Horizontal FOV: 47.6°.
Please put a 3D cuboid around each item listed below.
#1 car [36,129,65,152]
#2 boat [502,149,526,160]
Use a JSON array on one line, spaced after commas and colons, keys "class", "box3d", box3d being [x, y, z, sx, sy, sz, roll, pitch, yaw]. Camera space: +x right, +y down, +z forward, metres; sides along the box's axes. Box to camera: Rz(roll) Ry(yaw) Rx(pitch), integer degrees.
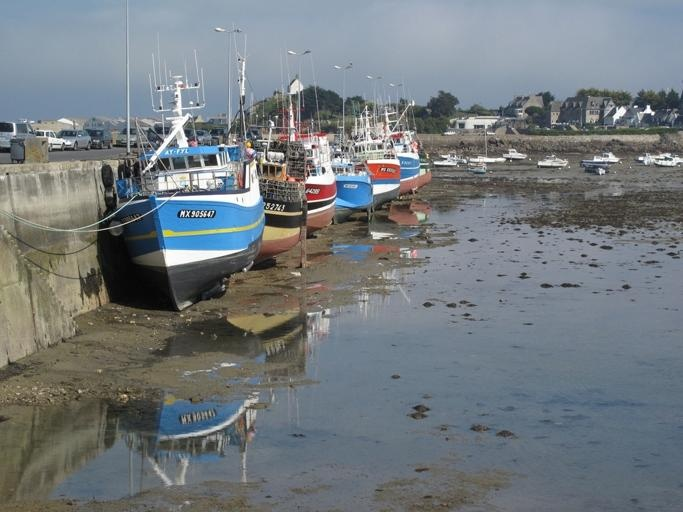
[{"class": "car", "box3d": [-14.122, -5.651, 38.003, 1.000, 0.956, 2.793, -3, 10, -11]}, {"class": "boat", "box3d": [23.441, -13.597, 104.066, 2.689, 1.336, 3.474, 1, 10, 10]}]
